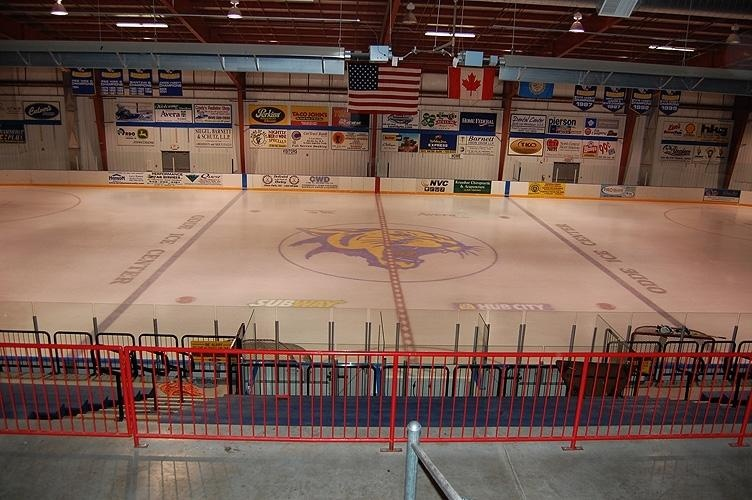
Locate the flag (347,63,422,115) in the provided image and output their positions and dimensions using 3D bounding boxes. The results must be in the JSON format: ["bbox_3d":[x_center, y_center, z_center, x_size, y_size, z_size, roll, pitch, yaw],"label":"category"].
[{"bbox_3d":[0.303,-6.485,23.055,4.565,2.139,0.164,2,7,-6],"label":"flag"}]
